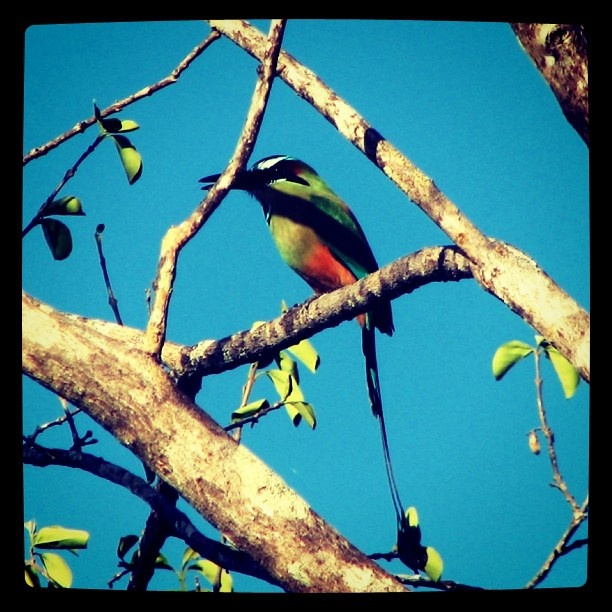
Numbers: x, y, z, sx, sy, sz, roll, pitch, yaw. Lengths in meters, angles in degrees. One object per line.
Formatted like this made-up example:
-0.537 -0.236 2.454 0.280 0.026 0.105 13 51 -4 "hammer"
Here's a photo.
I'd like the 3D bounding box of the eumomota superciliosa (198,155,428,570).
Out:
0.038 0.104 2.168 0.440 0.741 0.199 13 -24 -41 "eumomota superciliosa"
